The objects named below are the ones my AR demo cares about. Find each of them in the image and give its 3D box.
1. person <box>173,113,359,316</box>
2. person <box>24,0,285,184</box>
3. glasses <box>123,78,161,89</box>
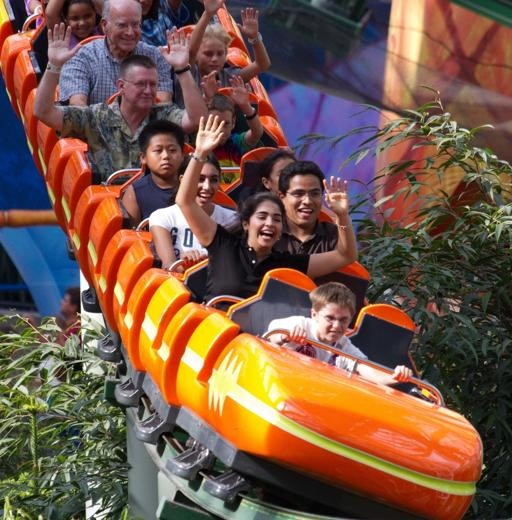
[{"bbox_3d":[0.071,-0.154,2.008,0.710,0.633,0.426,12,16,0],"label":"person"},{"bbox_3d":[-0.721,-0.950,3.040,1.160,0.597,1.383,-1,33,-27],"label":"person"},{"bbox_3d":[-0.623,-0.945,2.998,0.173,0.059,0.063,5,17,-21],"label":"glasses"}]
